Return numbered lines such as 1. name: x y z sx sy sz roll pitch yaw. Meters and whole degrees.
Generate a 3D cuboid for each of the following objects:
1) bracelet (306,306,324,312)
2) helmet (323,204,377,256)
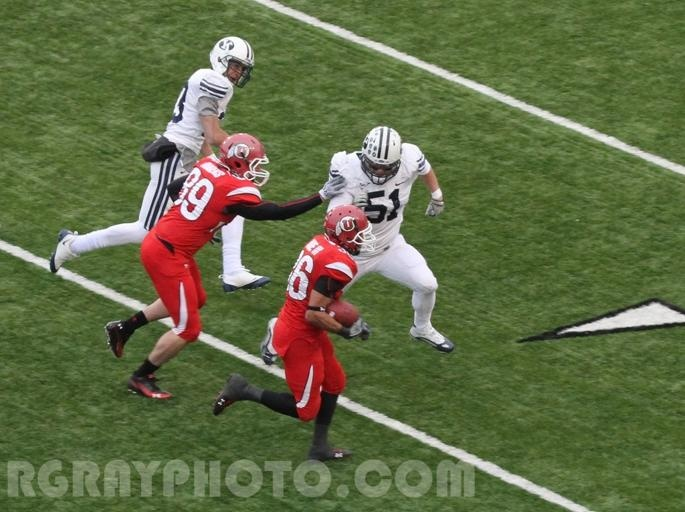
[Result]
1. bracelet: -0.248 0.466 10.432 0.141 0.045 0.054 2 62 -7
2. helmet: 0.226 -0.239 10.646 0.658 0.490 0.325 -5 101 8
